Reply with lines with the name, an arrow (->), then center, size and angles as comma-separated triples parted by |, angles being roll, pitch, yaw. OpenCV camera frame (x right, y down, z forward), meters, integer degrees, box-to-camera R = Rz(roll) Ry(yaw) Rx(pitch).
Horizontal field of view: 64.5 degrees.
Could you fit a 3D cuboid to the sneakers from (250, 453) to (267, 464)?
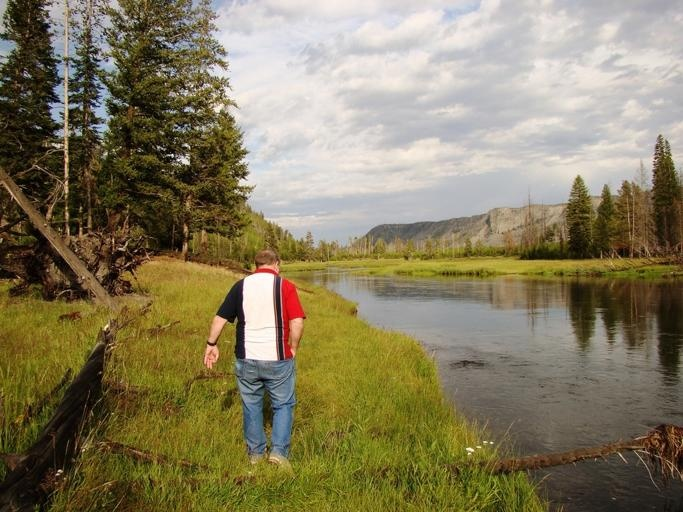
sneakers -> -1.899, 4.667, 12.567 | 0.344, 0.229, 0.263 | -1, 8, 19
